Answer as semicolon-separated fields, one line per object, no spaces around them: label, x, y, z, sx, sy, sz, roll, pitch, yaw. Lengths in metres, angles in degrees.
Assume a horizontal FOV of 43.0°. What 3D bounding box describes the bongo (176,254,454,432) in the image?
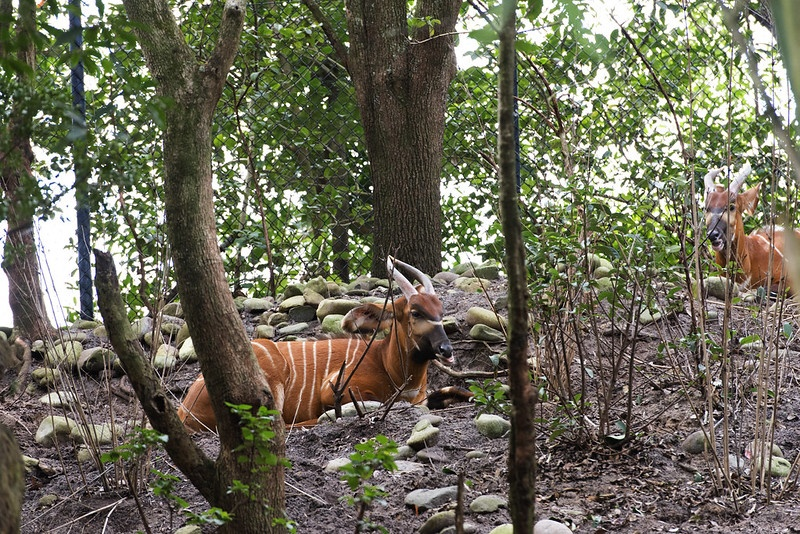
bongo;-0.546;0.599;7.255;1.904;1.293;0.757;1;-15;-4
